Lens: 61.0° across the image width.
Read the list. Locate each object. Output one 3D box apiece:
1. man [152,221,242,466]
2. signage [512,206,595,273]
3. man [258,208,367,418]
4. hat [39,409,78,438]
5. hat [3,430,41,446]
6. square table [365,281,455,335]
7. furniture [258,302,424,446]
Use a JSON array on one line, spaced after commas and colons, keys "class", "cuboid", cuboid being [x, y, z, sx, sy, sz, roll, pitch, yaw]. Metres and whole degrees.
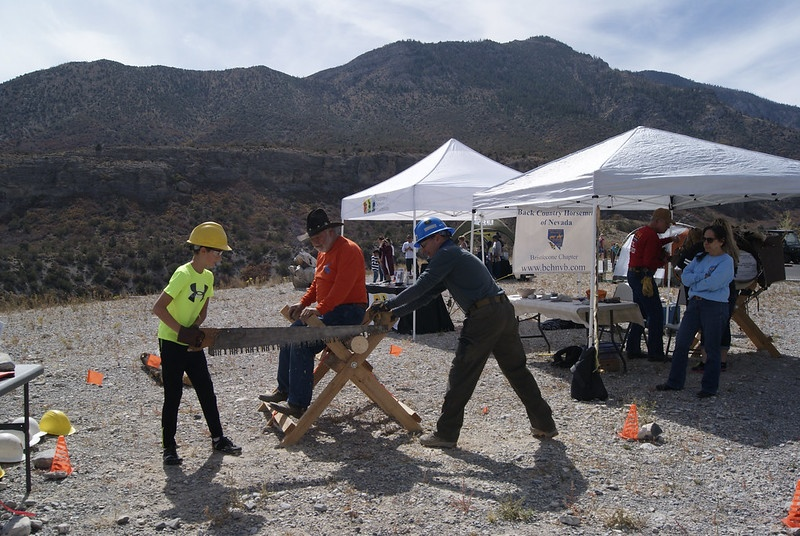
[{"class": "man", "cuboid": [-2.641, 0.956, 8.761, 0.928, 3.042, 0.871, -3, 6, -16]}, {"class": "signage", "cuboid": [2.747, -0.494, 12.230, 1.178, 0.929, 0.072, -1, 0, -7]}, {"class": "man", "cuboid": [-1.189, 0.578, 9.503, 1.657, 2.789, 1.012, -4, 0, -16]}, {"class": "hat", "cuboid": [-4.649, 2.131, 9.282, 0.401, 0.232, 0.320, 9, 4, 16]}, {"class": "hat", "cuboid": [-4.736, 2.144, 8.624, 0.386, 0.144, 0.273, 0, -1, 0]}, {"class": "square table", "cuboid": [0.378, 1.036, 14.340, 1.194, 0.715, 1.396, -1, 4, -22]}, {"class": "furniture", "cuboid": [-0.913, 1.311, 9.638, 2.081, 1.750, 1.639, -5, 6, -16]}]
